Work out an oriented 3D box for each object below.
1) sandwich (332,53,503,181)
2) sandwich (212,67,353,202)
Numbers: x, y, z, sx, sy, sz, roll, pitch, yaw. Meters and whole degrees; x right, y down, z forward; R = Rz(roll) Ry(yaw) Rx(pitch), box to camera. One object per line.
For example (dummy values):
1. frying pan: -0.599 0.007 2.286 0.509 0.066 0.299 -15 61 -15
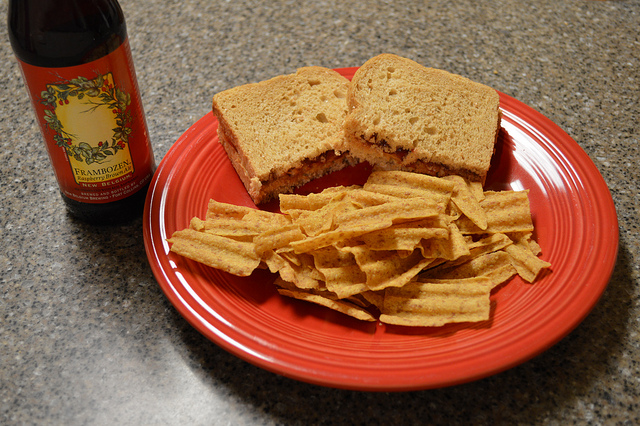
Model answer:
1. sandwich: 0.263 -0.251 1.675 0.452 0.135 0.340 20 66 3
2. sandwich: -0.096 -0.261 1.701 0.455 0.116 0.462 -12 46 -9
